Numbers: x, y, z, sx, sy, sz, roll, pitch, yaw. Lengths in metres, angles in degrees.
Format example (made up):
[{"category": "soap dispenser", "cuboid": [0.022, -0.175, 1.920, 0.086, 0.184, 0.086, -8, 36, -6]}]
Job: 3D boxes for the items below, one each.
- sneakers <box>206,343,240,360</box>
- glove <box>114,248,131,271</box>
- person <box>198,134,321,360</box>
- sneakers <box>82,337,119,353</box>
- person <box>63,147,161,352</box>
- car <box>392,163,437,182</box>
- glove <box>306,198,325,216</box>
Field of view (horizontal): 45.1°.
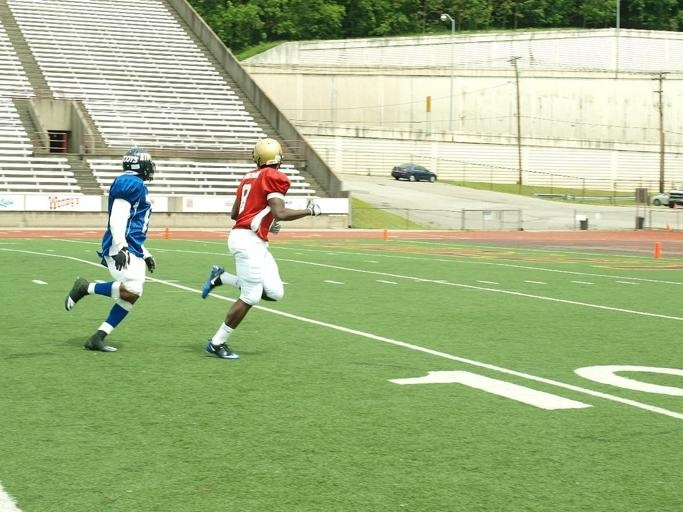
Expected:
[{"category": "sneakers", "cuboid": [-1.211, 0.985, 8.427, 0.451, 0.121, 0.137, 10, 17, -2]}, {"category": "glove", "cuboid": [-2.195, 0.031, 8.289, 0.119, 0.237, 0.120, 0, 10, -8]}, {"category": "person", "cuboid": [-0.861, -0.064, 8.459, 1.077, 2.268, 0.977, 0, 10, -9]}, {"category": "sneakers", "cuboid": [-2.438, 0.938, 8.660, 0.510, 0.140, 0.126, 7, 0, 3]}, {"category": "person", "cuboid": [-2.280, -0.056, 8.589, 0.697, 2.131, 0.626, 8, 12, 32]}, {"category": "car", "cuboid": [5.906, -6.328, 62.998, 3.652, 0.742, 1.364, -3, 11, -24]}, {"category": "glove", "cuboid": [-0.262, -0.477, 8.229, 0.137, 0.066, 0.233, 0, 24, -10]}]
